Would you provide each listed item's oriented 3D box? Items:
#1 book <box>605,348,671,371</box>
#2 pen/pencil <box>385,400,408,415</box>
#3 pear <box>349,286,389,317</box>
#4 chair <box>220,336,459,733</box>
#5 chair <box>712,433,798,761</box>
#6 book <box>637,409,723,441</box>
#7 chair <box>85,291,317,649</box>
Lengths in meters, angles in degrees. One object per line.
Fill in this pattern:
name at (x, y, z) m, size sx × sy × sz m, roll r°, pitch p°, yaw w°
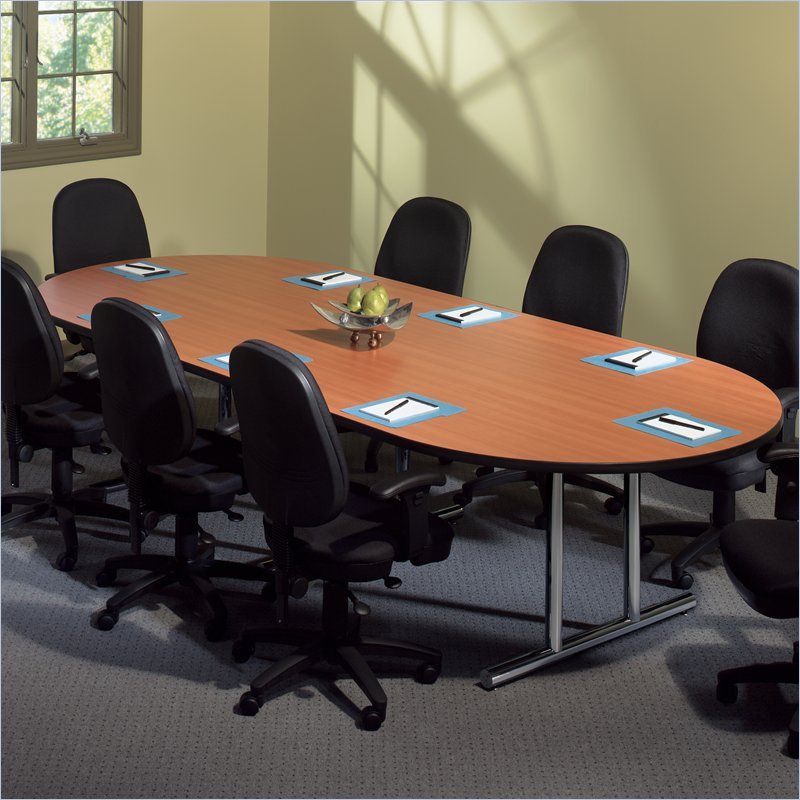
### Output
book at (0.815, -0.140, 2.521) m, size 0.151 × 0.025 × 0.109 m, roll -13°, pitch 19°, yaw -40°
pen/pencil at (-0.004, 0.012, 2.014) m, size 0.021 × 0.018 × 0.137 m, roll 4°, pitch 15°, yaw 23°
pear at (-0.122, -0.367, 2.717) m, size 0.108 × 0.085 × 0.146 m, roll 1°, pitch -4°, yaw -19°
chair at (-0.154, 0.307, 1.871) m, size 0.498 × 0.864 × 0.555 m, roll 6°, pitch 6°, yaw 34°
chair at (0.943, 0.556, 1.931) m, size 0.227 × 0.501 × 0.721 m, roll 6°, pitch 11°, yaw 25°
book at (0.724, 0.065, 1.916) m, size 0.177 × 0.031 × 0.204 m, roll -6°, pitch 12°, yaw -35°
chair at (-0.716, 0.093, 2.663) m, size 0.881 × 1.292 × 0.860 m, roll -9°, pitch 17°, yaw -41°
